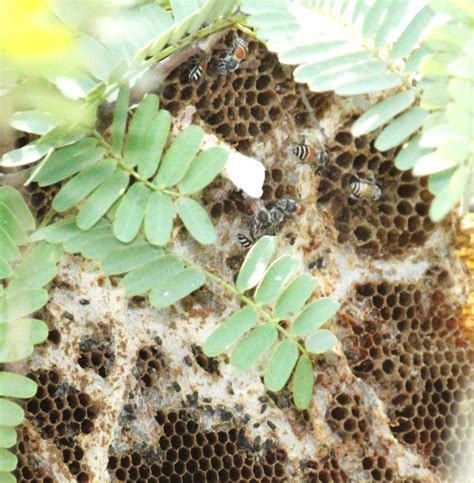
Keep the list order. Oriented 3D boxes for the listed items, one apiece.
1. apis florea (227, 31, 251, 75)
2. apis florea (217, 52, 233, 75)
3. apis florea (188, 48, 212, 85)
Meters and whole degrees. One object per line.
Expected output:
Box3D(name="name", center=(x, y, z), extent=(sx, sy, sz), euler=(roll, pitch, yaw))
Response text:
Box3D(name="apis florea", center=(0.013, -1.083, 4.550), extent=(0.081, 0.159, 0.211), euler=(8, 72, 7))
Box3D(name="apis florea", center=(-0.066, -1.015, 4.517), extent=(0.082, 0.031, 0.122), euler=(21, 91, -16))
Box3D(name="apis florea", center=(-0.204, -0.984, 4.416), extent=(0.117, 0.044, 0.173), euler=(28, 83, -27))
